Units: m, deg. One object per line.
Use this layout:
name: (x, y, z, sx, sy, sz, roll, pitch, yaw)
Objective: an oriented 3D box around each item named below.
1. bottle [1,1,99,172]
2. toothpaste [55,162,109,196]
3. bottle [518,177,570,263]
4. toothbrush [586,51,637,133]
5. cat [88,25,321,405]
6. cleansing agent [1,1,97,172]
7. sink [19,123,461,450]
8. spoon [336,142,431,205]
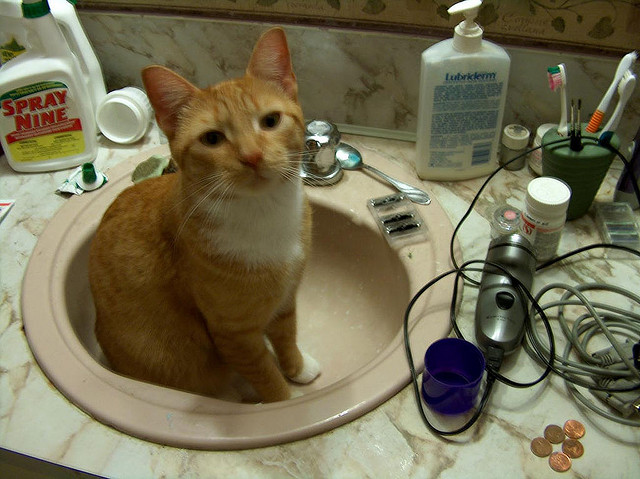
bottle: (-0.665, -0.385, 1.297, 0.235, 0.342, 0.199, -14, 33, -22)
toothpaste: (-0.558, -0.138, 1.227, 0.073, 0.043, 0.078, 23, 33, 31)
bottle: (0.441, -0.036, 1.038, 0.084, 0.151, 0.086, -6, 42, 5)
toothbrush: (0.585, -0.303, 1.057, 0.033, 0.199, 0.017, 26, 30, 18)
cat: (-0.237, 0.024, 0.995, 0.442, 0.697, 0.299, -4, 41, 1)
cleansing agent: (-0.630, -0.346, 1.216, 0.234, 0.342, 0.199, -14, 33, -22)
sink: (-0.164, 0.105, 1.002, 0.657, 0.256, 0.685, -4, 45, 1)
spoon: (0.144, -0.145, 1.208, 0.209, 0.029, 0.042, 39, 84, 11)
